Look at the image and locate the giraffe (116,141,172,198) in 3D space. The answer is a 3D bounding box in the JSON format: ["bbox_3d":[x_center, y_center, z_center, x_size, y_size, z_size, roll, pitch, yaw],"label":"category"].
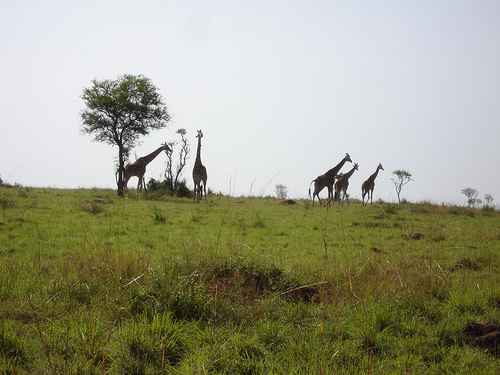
[{"bbox_3d":[-6.058,-0.822,24.903,2.038,2.503,4.955,1,5,-6],"label":"giraffe"}]

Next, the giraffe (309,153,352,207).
[{"bbox_3d":[4.668,-0.431,26.563,1.889,2.834,6.066,2,5,12],"label":"giraffe"}]
